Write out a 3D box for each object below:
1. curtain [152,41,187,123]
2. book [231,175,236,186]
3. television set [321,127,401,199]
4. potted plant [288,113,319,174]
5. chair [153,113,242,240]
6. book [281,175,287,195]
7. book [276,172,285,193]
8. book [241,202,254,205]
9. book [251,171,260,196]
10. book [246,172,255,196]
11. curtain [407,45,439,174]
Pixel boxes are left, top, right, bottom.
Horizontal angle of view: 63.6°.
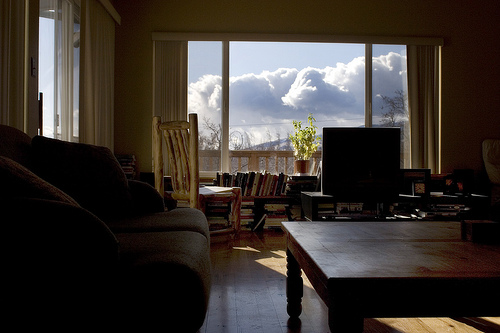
[{"bbox_3d":[-0.996,-1.056,4.977,0.427,0.981,0.148,0,6,-3],"label":"curtain"},{"bbox_3d":[-0.200,0.175,4.895,0.047,0.139,0.035,7,1,-5],"label":"book"},{"bbox_3d":[0.998,-0.038,3.700,0.630,0.563,0.208,0,0,0],"label":"television set"},{"bbox_3d":[0.672,-0.287,5.040,0.282,0.721,0.306,6,8,41],"label":"potted plant"},{"bbox_3d":[-0.519,0.159,4.017,0.844,1.246,0.886,1,1,-3],"label":"chair"},{"bbox_3d":[0.409,0.237,4.910,0.039,0.170,0.164,7,-4,2],"label":"book"},{"bbox_3d":[0.374,0.197,4.952,0.038,0.171,0.167,11,-9,3],"label":"book"},{"bbox_3d":[-0.025,0.448,4.853,0.147,0.032,0.027,0,6,-2],"label":"book"},{"bbox_3d":[0.067,0.217,4.870,0.050,0.223,0.210,6,-3,4],"label":"book"},{"bbox_3d":[0.009,0.217,4.876,0.050,0.223,0.210,7,3,2],"label":"book"},{"bbox_3d":[2.216,-0.729,5.124,0.428,1.605,0.260,0,6,-2],"label":"curtain"}]
